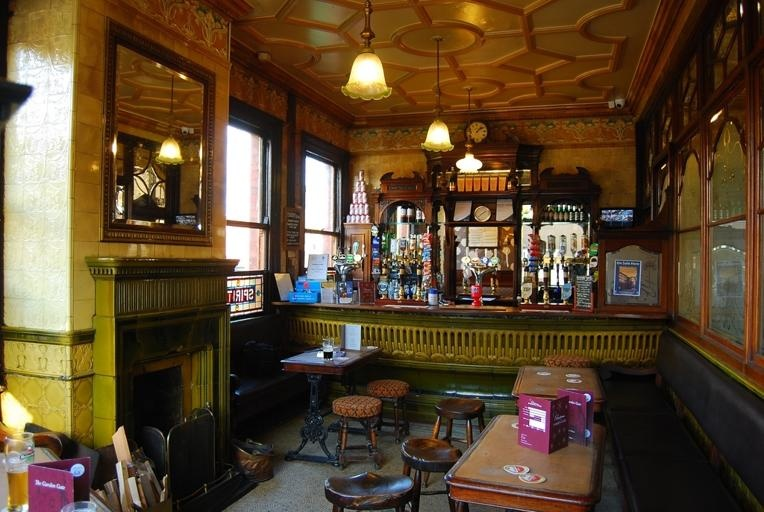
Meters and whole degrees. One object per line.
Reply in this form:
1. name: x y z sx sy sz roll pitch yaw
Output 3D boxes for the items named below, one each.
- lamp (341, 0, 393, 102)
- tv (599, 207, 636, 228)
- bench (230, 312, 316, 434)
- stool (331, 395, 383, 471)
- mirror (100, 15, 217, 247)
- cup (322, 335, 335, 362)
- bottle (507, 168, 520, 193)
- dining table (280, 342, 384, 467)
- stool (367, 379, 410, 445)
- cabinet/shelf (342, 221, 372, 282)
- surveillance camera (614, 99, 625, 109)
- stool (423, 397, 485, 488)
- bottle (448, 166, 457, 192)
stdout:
1. lamp: -0.118 -1.830 4.895 0.401 0.912 0.298 -1 -1 14
2. tv: 3.582 -0.595 8.548 0.506 0.285 0.170 -1 -1 21
3. bench: -1.290 1.399 6.561 0.682 0.950 1.436 -1 2 16
4. stool: -0.219 1.794 5.834 0.618 0.672 0.615 -1 -2 8
5. mirror: -1.984 -1.032 5.091 0.103 1.834 1.118 -1 -1 30
6. cup: -0.548 0.982 5.943 0.192 0.296 0.189 0 2 0
7. bottle: 2.071 -1.164 8.755 0.238 0.365 0.149 0 -1 -28
8. dining table: -0.539 1.681 6.512 0.709 0.994 1.575 0 -5 14
9. stool: 0.178 1.754 6.354 0.427 0.506 0.425 -3 -11 -7
10. cabinet/shelf: -0.400 -0.033 9.221 0.445 1.154 0.172 1 35 -1
11. surveillance camera: 3.431 -2.222 8.115 0.133 0.081 0.229 1 0 4
12. stool: 0.719 1.817 5.528 0.576 0.646 0.585 -4 -9 39
13. bottle: 1.138 -1.230 8.994 0.134 0.410 0.164 -1 -1 6
